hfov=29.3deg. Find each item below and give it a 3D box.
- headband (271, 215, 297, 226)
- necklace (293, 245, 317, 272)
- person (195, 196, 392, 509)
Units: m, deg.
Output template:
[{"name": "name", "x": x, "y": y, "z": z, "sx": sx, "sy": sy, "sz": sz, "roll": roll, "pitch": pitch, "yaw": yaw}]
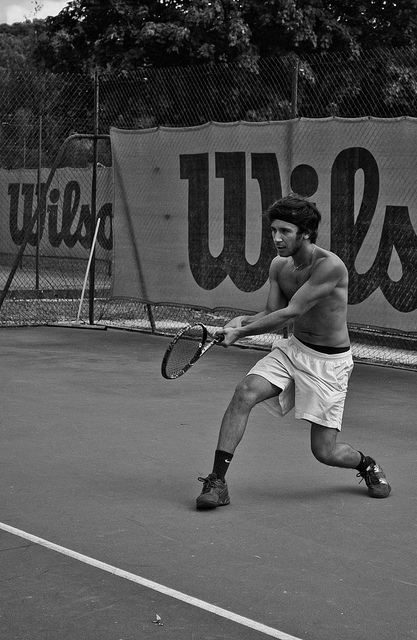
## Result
[{"name": "headband", "x": 0.366, "y": -0.472, "z": 3.774, "sx": 0.106, "sy": 0.040, "sz": 0.043, "roll": 6, "pitch": 7, "yaw": 6}, {"name": "necklace", "x": 0.479, "y": -0.300, "z": 4.000, "sx": 0.064, "sy": 0.142, "sz": 0.144, "roll": -2, "pitch": 9, "yaw": -43}, {"name": "person", "x": 0.424, "y": 0.151, "z": 4.024, "sx": 1.021, "sy": 1.507, "sz": 0.455, "roll": 2, "pitch": 6, "yaw": -19}]
